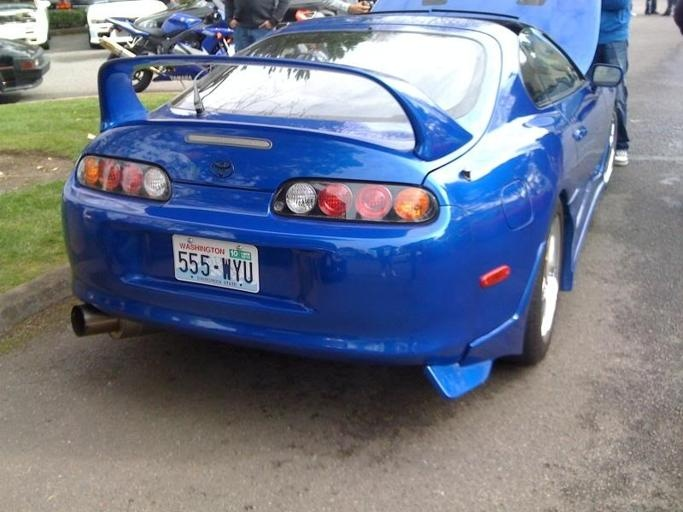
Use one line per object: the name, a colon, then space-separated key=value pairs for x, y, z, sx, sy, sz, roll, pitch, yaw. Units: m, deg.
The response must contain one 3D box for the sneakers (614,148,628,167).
sneakers: x=3.150 y=-1.145 z=6.343 sx=0.099 sy=0.142 sz=0.341 roll=4 pitch=31 yaw=21
